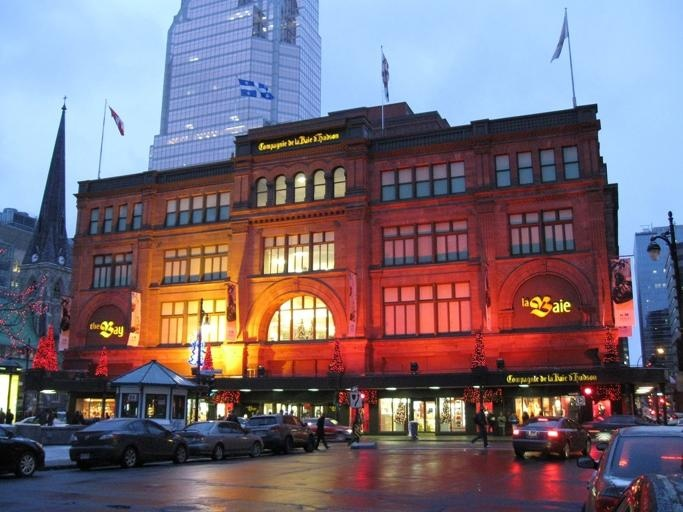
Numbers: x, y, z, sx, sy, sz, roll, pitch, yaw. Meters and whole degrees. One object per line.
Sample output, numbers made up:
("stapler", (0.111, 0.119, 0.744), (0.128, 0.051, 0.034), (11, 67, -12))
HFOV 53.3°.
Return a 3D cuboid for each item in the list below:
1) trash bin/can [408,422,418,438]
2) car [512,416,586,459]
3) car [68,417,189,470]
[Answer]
("trash bin/can", (4.740, 11.430, 44.535), (0.479, 1.101, 1.126), (-1, -15, 2))
("car", (9.622, 7.919, 29.792), (4.500, 1.735, 1.906), (7, -17, -26))
("car", (-8.091, 7.064, 26.285), (1.906, 1.432, 4.177), (-7, -12, 32))
